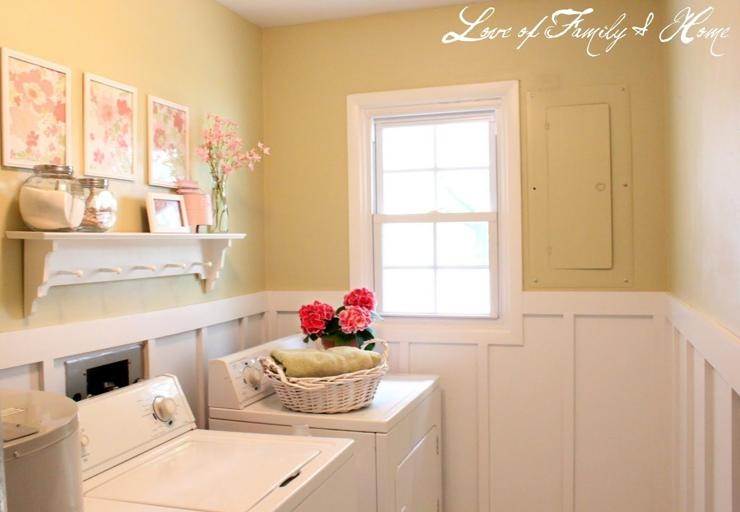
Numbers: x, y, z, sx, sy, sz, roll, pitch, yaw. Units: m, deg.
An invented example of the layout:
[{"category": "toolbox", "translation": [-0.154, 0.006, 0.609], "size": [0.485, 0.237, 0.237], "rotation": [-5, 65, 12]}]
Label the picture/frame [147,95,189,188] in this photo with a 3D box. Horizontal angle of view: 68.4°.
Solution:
[{"category": "picture/frame", "translation": [-0.880, -0.500, 2.424], "size": [0.106, 0.389, 0.304], "rotation": [5, 14, 16]}]

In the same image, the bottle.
[{"category": "bottle", "translation": [-1.043, -0.178, 1.935], "size": [0.204, 0.249, 0.355], "rotation": [-1, -4, 18]}]

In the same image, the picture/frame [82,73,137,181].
[{"category": "picture/frame", "translation": [-1.035, -0.503, 2.170], "size": [0.082, 0.411, 0.298], "rotation": [5, 15, 17]}]

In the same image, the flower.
[{"category": "flower", "translation": [-0.143, 0.331, 2.687], "size": [0.324, 0.231, 0.325], "rotation": [-18, -22, 36]}]

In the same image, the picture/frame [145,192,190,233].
[{"category": "picture/frame", "translation": [-0.874, -0.181, 2.335], "size": [0.018, 0.156, 0.185], "rotation": [-20, -16, 28]}]

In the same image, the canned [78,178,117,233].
[{"category": "canned", "translation": [-0.987, -0.180, 1.980], "size": [0.171, 0.220, 0.154], "rotation": [0, -1, -27]}]
